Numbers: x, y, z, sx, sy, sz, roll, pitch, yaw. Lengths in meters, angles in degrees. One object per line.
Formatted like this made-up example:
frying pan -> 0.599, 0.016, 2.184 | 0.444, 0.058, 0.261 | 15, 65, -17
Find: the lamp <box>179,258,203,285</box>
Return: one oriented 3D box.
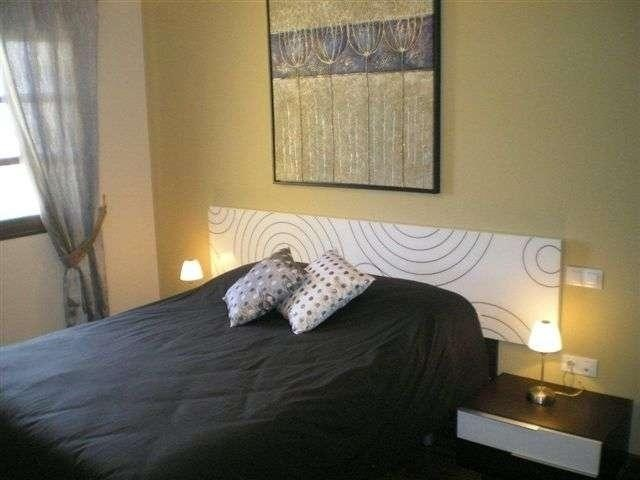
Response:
lamp -> -1.066, 0.263, 4.670 | 0.196, 0.190, 0.194 | -14, 18, -43
